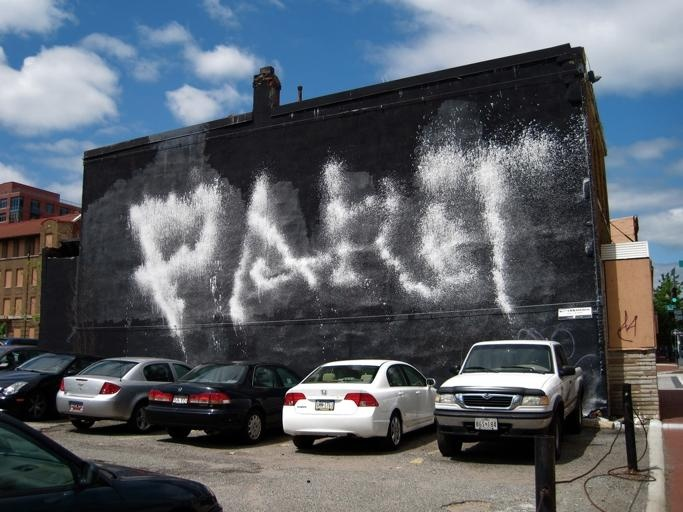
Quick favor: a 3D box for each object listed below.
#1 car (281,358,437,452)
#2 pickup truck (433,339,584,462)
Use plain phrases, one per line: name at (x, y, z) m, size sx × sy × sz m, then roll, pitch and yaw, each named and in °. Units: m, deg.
car at (0.489, 3.040, 14.023) m, size 3.117 × 1.701 × 1.655 m, roll 3°, pitch -4°, yaw -40°
pickup truck at (3.121, 2.525, 12.892) m, size 1.701 × 1.406 × 3.241 m, roll -6°, pitch -14°, yaw 22°
